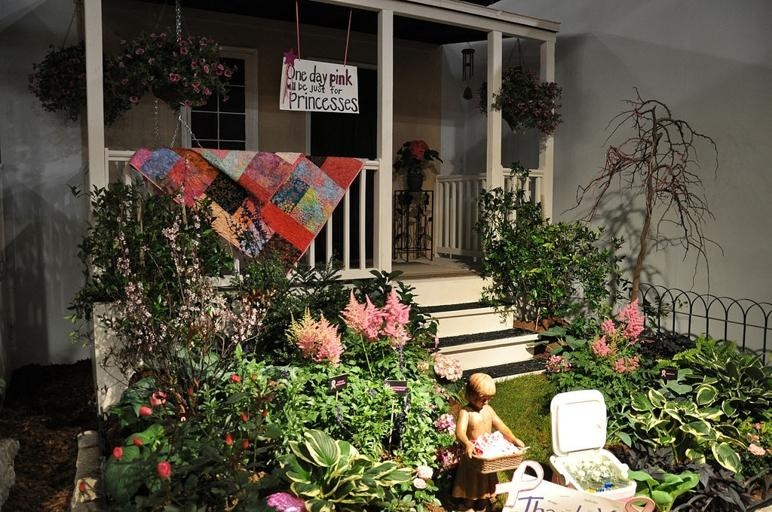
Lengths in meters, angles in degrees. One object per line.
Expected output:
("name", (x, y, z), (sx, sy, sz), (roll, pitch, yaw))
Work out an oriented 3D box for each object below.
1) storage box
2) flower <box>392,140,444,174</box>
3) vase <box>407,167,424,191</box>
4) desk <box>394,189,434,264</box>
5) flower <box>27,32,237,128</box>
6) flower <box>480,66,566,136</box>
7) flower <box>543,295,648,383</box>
("storage box", (1.611, 1.611, 4.475), (0.573, 0.879, 0.692), (-6, 11, -9))
("flower", (0.497, -1.492, 8.741), (0.607, 0.284, 0.638), (10, 13, -12))
("vase", (0.404, -1.174, 8.777), (0.287, 0.338, 0.295), (-3, 6, -27))
("desk", (0.499, -0.463, 9.086), (0.629, 1.118, 0.627), (-1, -1, 31))
("flower", (-2.594, -1.877, 6.024), (1.546, 0.892, 1.626), (12, 24, 3))
("flower", (1.849, -2.057, 7.566), (0.999, 0.862, 0.403), (-1, 5, -19))
("flower", (2.158, 0.994, 6.103), (0.948, 0.886, 0.879), (-16, 22, -34))
